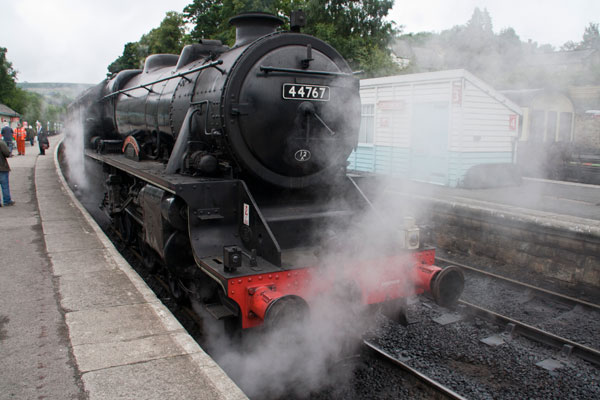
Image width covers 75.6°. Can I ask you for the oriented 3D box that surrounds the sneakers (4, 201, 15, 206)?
[{"bbox_3d":[-7.669,0.102,10.180,0.200,0.088,0.093,-5,12,-13],"label":"sneakers"}]
